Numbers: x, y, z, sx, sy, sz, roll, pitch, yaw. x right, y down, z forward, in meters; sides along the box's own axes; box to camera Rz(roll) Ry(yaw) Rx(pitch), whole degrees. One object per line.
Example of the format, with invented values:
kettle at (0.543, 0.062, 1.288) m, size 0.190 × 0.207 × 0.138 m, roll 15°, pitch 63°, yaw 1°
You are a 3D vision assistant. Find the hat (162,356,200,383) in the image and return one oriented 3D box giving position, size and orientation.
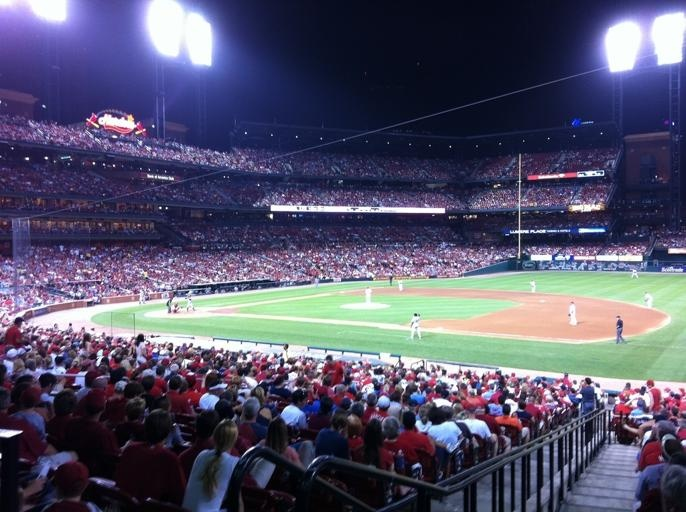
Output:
hat at (-5.401, 3.776, 20.423) m, size 0.860 × 0.383 × 1.182 m, roll 2°, pitch 2°, yaw -4°

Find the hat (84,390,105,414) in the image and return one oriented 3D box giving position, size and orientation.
hat at (-5.359, 3.165, 13.077) m, size 0.368 × 0.577 × 0.252 m, roll 3°, pitch -1°, yaw -24°

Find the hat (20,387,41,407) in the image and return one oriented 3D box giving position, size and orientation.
hat at (-7.006, 3.187, 13.558) m, size 0.351 × 0.500 × 0.477 m, roll 12°, pitch 13°, yaw -19°

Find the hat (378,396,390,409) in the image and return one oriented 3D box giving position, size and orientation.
hat at (1.006, 3.687, 15.317) m, size 0.261 × 0.211 × 0.273 m, roll 16°, pitch 22°, yaw 34°

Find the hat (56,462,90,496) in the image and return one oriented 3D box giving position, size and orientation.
hat at (-4.964, 4.099, 11.096) m, size 0.491 × 0.809 × 0.375 m, roll 20°, pitch 33°, yaw -1°

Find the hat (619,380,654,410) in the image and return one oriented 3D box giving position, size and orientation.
hat at (9.993, 4.786, 20.595) m, size 0.851 × 0.363 × 0.837 m, roll -15°, pitch 3°, yaw -20°
